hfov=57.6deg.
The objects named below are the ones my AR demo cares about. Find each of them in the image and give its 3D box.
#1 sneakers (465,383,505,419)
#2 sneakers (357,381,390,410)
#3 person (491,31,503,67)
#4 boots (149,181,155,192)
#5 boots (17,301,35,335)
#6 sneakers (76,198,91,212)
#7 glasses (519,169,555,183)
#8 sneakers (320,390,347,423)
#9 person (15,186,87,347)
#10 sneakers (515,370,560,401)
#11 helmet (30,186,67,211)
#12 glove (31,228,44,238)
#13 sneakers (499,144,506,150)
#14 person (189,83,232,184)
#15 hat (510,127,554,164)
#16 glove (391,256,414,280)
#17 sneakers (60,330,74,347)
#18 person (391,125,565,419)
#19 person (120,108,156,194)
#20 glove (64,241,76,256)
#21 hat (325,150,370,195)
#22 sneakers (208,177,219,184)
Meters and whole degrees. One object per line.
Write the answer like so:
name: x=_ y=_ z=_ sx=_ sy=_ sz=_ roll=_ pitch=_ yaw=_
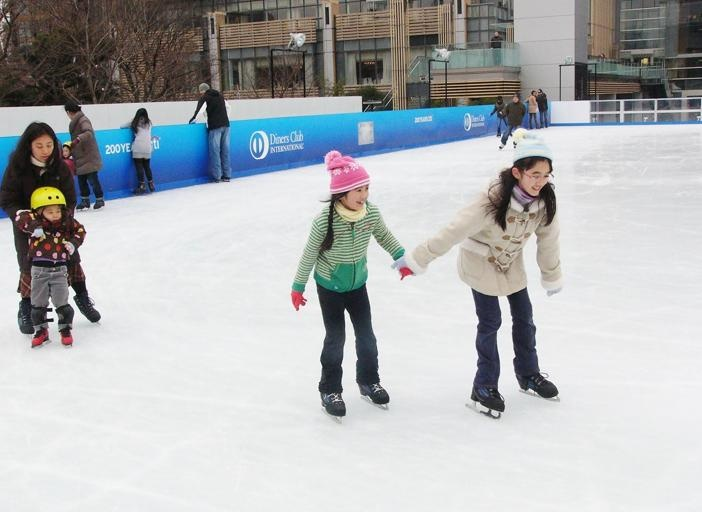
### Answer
sneakers: x=0.784 y=0.846 z=3.702 sx=0.105 sy=0.128 sz=0.284 roll=1 pitch=-1 yaw=-24
sneakers: x=0.145 y=0.830 z=3.828 sx=0.088 sy=0.110 sz=0.240 roll=-13 pitch=11 yaw=-32
person: x=7.818 y=-11.081 z=34.365 sx=0.543 sy=1.692 sz=1.330 roll=2 pitch=15 yaw=12
boots: x=-3.594 y=-1.265 z=11.569 sx=0.102 sy=0.160 sz=0.145 roll=1 pitch=-16 yaw=-9
boots: x=-2.542 y=0.454 z=5.020 sx=0.110 sy=0.135 sz=0.337 roll=-6 pitch=38 yaw=-31
sneakers: x=-4.161 y=-0.807 z=10.083 sx=0.278 sy=0.248 sz=0.106 roll=7 pitch=7 yaw=1
glasses: x=0.997 y=-0.425 z=3.433 sx=0.145 sy=0.074 sz=0.192 roll=2 pitch=16 yaw=13
sneakers: x=-0.098 y=0.869 z=3.698 sx=0.073 sy=0.089 sz=0.212 roll=-1 pitch=2 yaw=-17
person: x=-2.206 y=0.077 z=4.772 sx=0.458 sy=1.172 sz=0.371 roll=-9 pitch=16 yaw=-28
sneakers: x=1.128 y=0.785 z=3.914 sx=0.285 sy=0.132 sz=0.123 roll=3 pitch=9 yaw=42
helmet: x=-2.188 y=-0.414 z=4.645 sx=0.196 sy=0.196 sz=0.158 roll=-1 pitch=4 yaw=45
glove: x=-2.218 y=-0.163 z=4.547 sx=0.056 sy=0.059 sz=0.070 roll=5 pitch=-3 yaw=31
sneakers: x=4.562 y=-3.281 z=19.273 sx=0.142 sy=0.196 sz=0.450 roll=1 pitch=9 yaw=8
person: x=-2.767 y=-2.470 z=12.889 sx=0.766 sy=1.914 sz=0.591 roll=-14 pitch=19 yaw=-41
hat: x=0.961 y=-0.609 z=3.519 sx=0.177 sy=0.174 sz=0.258 roll=-5 pitch=13 yaw=-27
glove: x=0.310 y=0.061 z=3.803 sx=0.134 sy=0.138 sz=0.056 roll=-34 pitch=3 yaw=40
sneakers: x=-2.113 y=0.612 z=4.761 sx=0.054 sy=0.077 sz=0.168 roll=-2 pitch=4 yaw=-30
person: x=0.863 y=0.090 z=3.723 sx=0.973 sy=1.592 sz=0.483 roll=-7 pitch=15 yaw=-22
person: x=-3.716 y=-1.858 z=11.402 sx=0.397 sy=1.513 sz=0.645 roll=-6 pitch=15 yaw=-18
glove: x=-2.043 y=-0.058 z=4.664 sx=0.065 sy=0.040 sz=0.085 roll=44 pitch=9 yaw=-43
hat: x=-0.025 y=-0.464 z=3.613 sx=0.224 sy=0.238 sz=0.263 roll=-2 pitch=15 yaw=-4
sneakers: x=-2.771 y=-1.521 z=12.933 sx=0.230 sy=0.107 sz=0.089 roll=2 pitch=12 yaw=17
